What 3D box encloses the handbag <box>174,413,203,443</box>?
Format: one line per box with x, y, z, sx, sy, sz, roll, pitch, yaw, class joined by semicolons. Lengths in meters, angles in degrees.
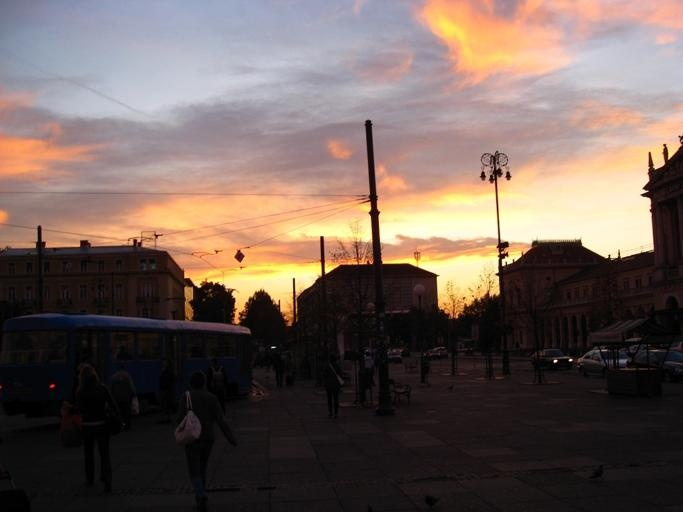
-2.610;2.937;12.865;0.433;0.543;0.286;-3;-7;-4;handbag

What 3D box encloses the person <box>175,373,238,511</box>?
-2.394;3.197;13.003;0.880;2.350;0.568;-2;-7;-14;person
